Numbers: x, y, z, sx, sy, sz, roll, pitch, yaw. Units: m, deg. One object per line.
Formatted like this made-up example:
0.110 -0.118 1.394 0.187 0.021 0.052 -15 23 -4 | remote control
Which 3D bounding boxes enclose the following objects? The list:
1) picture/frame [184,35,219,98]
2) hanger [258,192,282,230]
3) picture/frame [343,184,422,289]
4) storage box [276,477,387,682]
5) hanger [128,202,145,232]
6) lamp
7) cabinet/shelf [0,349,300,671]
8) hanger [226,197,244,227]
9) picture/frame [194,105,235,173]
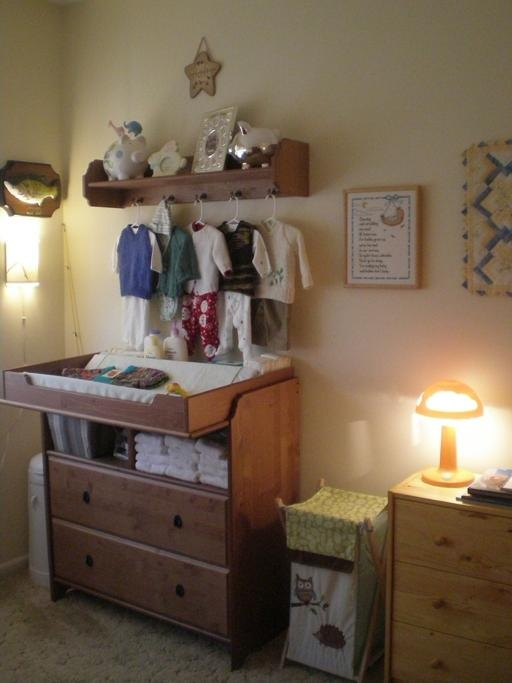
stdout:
-0.227 -1.161 2.449 0.198 0.245 0.032 2 5 39 | picture/frame
0.061 -0.526 2.311 0.156 0.176 0.030 2 4 37 | hanger
0.462 -0.382 2.057 0.367 0.453 0.060 4 9 39 | picture/frame
0.261 0.824 1.931 0.347 0.601 0.318 0 4 16 | storage box
-0.550 -0.572 2.641 0.061 0.137 0.190 -1 4 -11 | hanger
0.610 0.291 1.828 0.210 0.316 0.212 -1 1 14 | lamp
-0.464 0.463 2.506 1.328 1.313 0.977 2 5 32 | cabinet/shelf
-0.086 -0.541 2.398 0.007 0.166 0.147 2 -2 -41 | hanger
-0.178 -0.812 2.323 0.188 0.280 0.130 2 4 33 | picture/frame
